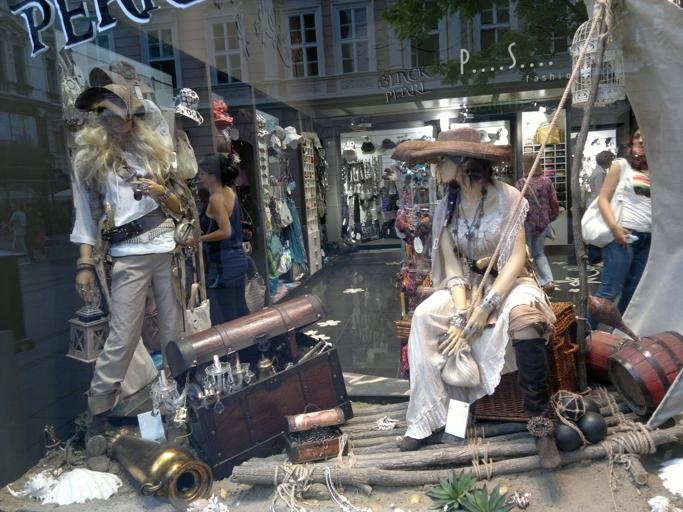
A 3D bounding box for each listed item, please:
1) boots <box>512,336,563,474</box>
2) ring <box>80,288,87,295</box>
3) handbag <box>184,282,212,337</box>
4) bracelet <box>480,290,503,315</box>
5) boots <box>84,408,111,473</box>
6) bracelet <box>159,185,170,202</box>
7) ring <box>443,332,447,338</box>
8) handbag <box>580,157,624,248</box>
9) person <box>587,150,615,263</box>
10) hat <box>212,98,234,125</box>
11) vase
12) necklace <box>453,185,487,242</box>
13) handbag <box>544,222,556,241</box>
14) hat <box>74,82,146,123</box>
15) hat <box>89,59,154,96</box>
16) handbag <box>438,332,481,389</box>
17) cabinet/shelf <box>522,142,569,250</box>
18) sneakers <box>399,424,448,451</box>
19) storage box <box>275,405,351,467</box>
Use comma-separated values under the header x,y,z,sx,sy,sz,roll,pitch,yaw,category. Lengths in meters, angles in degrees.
x,y,z,sx,sy,sz,roll,pitch,yaw,category
1.160,0.856,3.622,0.179,0.675,0.373,-4,16,-1,boots
-1.733,0.244,4.116,0.035,0.014,0.035,-6,-34,-4,ring
-1.108,0.436,4.665,0.134,0.437,0.287,7,9,25,handbag
0.933,0.289,3.874,0.128,0.129,0.108,24,2,-33,bracelet
-1.652,1.265,4.132,0.134,0.468,0.301,3,-6,-13,boots
-1.221,-0.425,4.248,0.078,0.084,0.079,-10,-40,46,bracelet
0.665,0.504,3.924,0.026,0.013,0.039,3,4,4,ring
1.975,-0.359,4.561,0.278,0.660,0.229,23,-5,-34,handbag
1.858,-0.356,4.436,0.214,0.811,0.120,-17,20,-39,person
-0.985,-1.198,5.092,0.060,0.185,0.125,-11,6,18,hat
-1.121,1.323,3.873,0.547,0.275,0.343,9,-25,46,vase
0.862,-0.268,4.048,0.183,0.338,0.085,0,-13,39,necklace
1.683,-0.195,4.922,0.066,0.130,0.109,1,24,20,handbag
-1.579,-1.030,4.169,0.328,0.138,0.252,3,-26,-30,hat
-1.542,-1.260,4.273,0.236,0.143,0.337,25,28,18,hat
0.742,0.597,3.882,0.302,0.270,0.123,-20,31,-26,handbag
1.691,-0.489,4.901,0.265,0.780,0.080,-7,8,-27,cabinet/shelf
0.527,1.149,3.946,0.349,0.168,0.114,2,4,-28,sneakers
-0.128,1.144,3.951,0.328,0.273,0.221,-14,5,8,storage box
